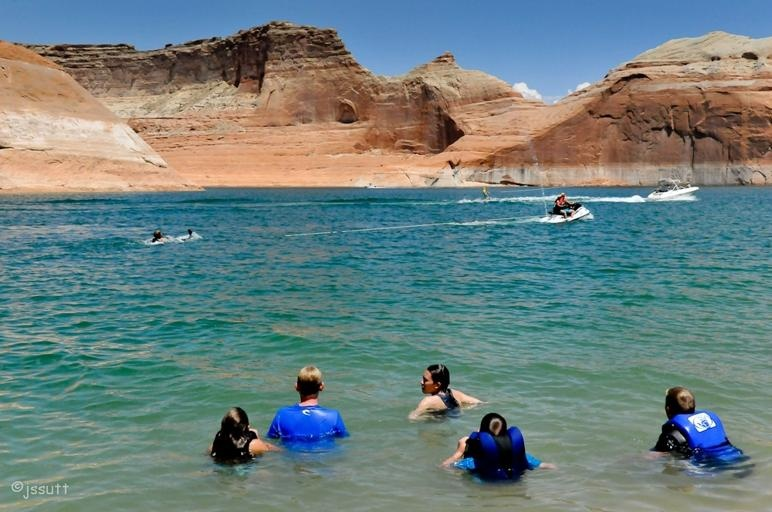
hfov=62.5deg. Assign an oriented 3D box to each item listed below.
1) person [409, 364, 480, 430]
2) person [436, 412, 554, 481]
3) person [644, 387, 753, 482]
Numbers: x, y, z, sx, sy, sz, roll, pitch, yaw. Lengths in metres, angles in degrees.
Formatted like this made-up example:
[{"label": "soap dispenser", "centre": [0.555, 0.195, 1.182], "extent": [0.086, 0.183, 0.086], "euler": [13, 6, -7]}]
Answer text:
[{"label": "person", "centre": [1.271, 3.120, 13.887], "extent": [2.020, 0.620, 0.730], "euler": [-9, 19, -24]}, {"label": "person", "centre": [1.880, 3.499, 11.775], "extent": [1.284, 1.206, 0.422], "euler": [-1, 5, 15]}, {"label": "person", "centre": [5.892, 3.247, 12.036], "extent": [1.644, 1.461, 0.567], "euler": [-2, 4, 11]}]
